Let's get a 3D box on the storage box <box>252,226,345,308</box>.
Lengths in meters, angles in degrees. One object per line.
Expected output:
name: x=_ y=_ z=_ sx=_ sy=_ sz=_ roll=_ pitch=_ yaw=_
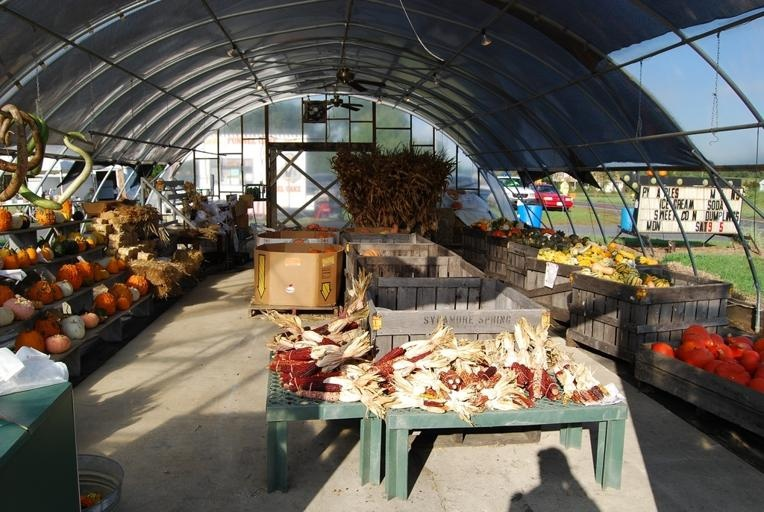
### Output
storage box: x=-1.502 y=0.267 z=8.151 sx=1.630 sy=0.908 sz=1.566 roll=-3 pitch=11 yaw=-18

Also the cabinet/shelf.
cabinet/shelf: x=-4.207 y=0.454 z=7.692 sx=2.528 sy=2.424 sz=6.139 roll=0 pitch=8 yaw=-7
